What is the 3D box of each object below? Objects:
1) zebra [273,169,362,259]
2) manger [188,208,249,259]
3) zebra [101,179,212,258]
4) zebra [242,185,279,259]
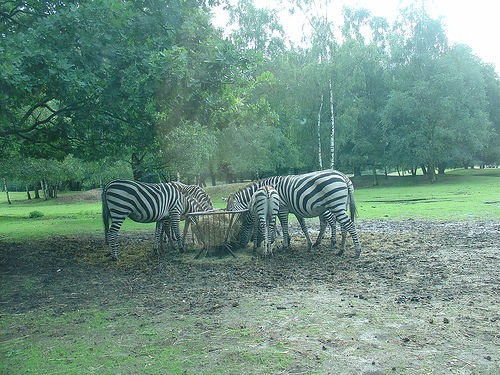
[{"bbox_3d":[1.462,0.549,14.964,4.304,3.267,1.305,4,15,29],"label":"zebra"},{"bbox_3d":[-1.154,1.725,15.319,1.525,1.422,2.937,-1,-9,-9],"label":"manger"},{"bbox_3d":[-3.057,0.936,15.011,1.975,2.799,3.515,5,13,30],"label":"zebra"},{"bbox_3d":[0.156,0.737,14.919,0.810,2.232,3.018,1,4,-17],"label":"zebra"}]
